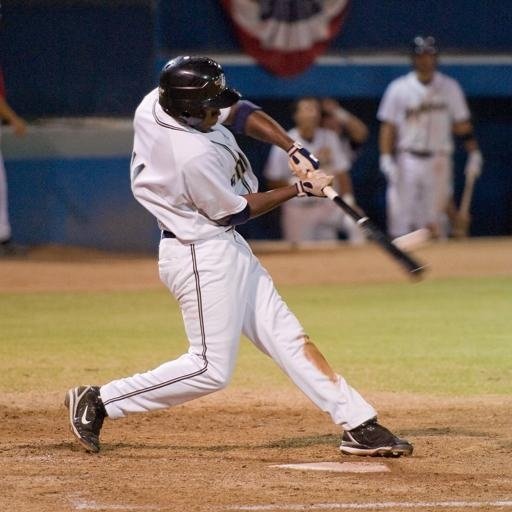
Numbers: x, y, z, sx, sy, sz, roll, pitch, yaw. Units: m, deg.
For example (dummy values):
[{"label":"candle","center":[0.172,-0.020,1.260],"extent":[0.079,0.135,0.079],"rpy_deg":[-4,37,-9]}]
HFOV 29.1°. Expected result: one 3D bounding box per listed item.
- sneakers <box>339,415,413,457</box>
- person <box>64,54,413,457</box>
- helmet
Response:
[{"label":"sneakers","center":[0.497,0.763,4.129],"extent":[0.330,0.121,0.139],"rpy_deg":[-1,-3,16]},{"label":"person","center":[-0.123,0.028,4.162],"extent":[1.365,1.688,0.619],"rpy_deg":[3,17,3]},{"label":"helmet","center":[-0.246,-0.657,4.015],"extent":[0.416,0.237,0.230],"rpy_deg":[2,36,-1]}]
